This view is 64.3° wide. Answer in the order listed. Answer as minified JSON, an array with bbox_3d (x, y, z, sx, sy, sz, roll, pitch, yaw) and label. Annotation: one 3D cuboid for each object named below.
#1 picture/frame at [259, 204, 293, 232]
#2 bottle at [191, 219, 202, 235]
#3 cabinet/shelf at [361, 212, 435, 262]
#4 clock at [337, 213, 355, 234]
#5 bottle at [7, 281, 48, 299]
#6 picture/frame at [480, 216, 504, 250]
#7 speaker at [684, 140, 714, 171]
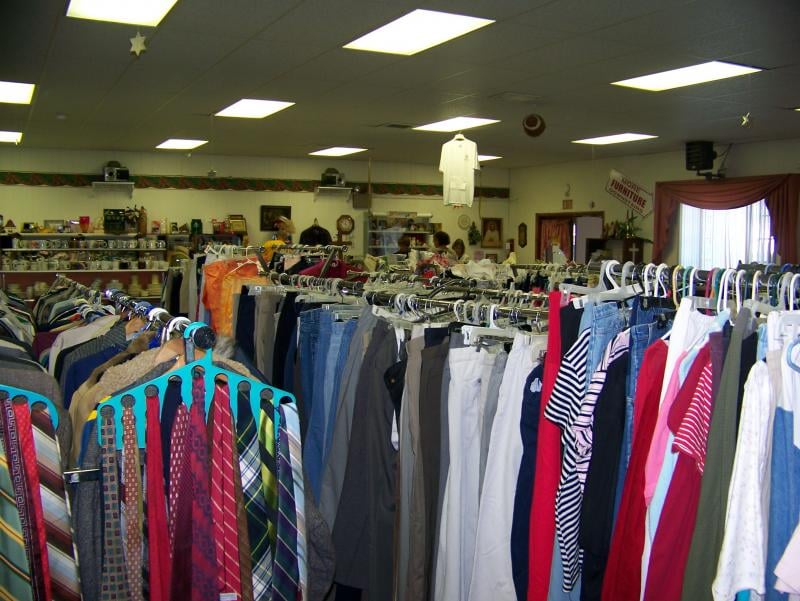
[{"bbox_3d":[-2.354,-1.504,11.983,0.593,0.508,0.175,1,3,-11],"label":"picture/frame"},{"bbox_3d":[-3.535,-1.229,11.002,0.207,0.375,0.218,0,-1,0],"label":"bottle"},{"bbox_3d":[0.045,-1.240,12.923,1.367,1.516,0.504,4,17,14],"label":"cabinet/shelf"},{"bbox_3d":[-1.063,-1.449,12.518,0.392,0.375,0.104,-1,4,-38],"label":"clock"},{"bbox_3d":[-4.838,-0.106,8.224,0.363,0.242,0.252,-1,2,17],"label":"bottle"},{"bbox_3d":[1.968,-1.424,13.767,0.617,0.803,0.073,5,-8,-40],"label":"picture/frame"},{"bbox_3d":[4.500,-2.120,9.472,0.420,0.480,0.332,1,2,-13],"label":"speaker"}]
